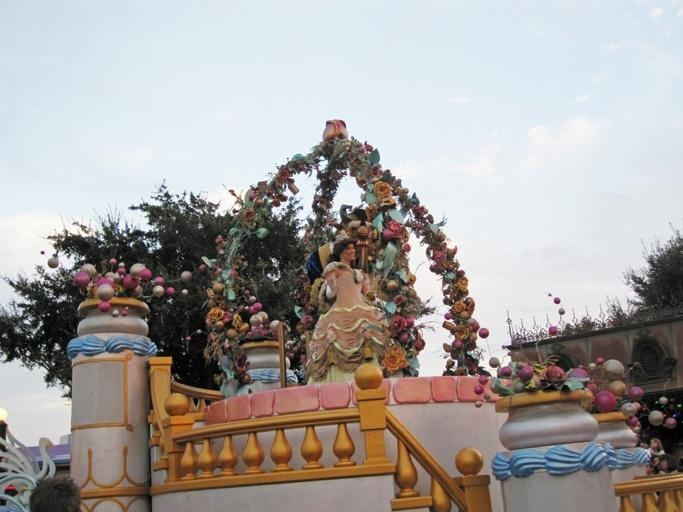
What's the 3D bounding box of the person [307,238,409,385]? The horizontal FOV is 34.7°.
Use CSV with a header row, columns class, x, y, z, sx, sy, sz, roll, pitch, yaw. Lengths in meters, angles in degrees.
class,x,y,z,sx,sy,sz,roll,pitch,yaw
person,0.096,0.713,14.779,1.191,1.987,0.789,-9,-13,15
